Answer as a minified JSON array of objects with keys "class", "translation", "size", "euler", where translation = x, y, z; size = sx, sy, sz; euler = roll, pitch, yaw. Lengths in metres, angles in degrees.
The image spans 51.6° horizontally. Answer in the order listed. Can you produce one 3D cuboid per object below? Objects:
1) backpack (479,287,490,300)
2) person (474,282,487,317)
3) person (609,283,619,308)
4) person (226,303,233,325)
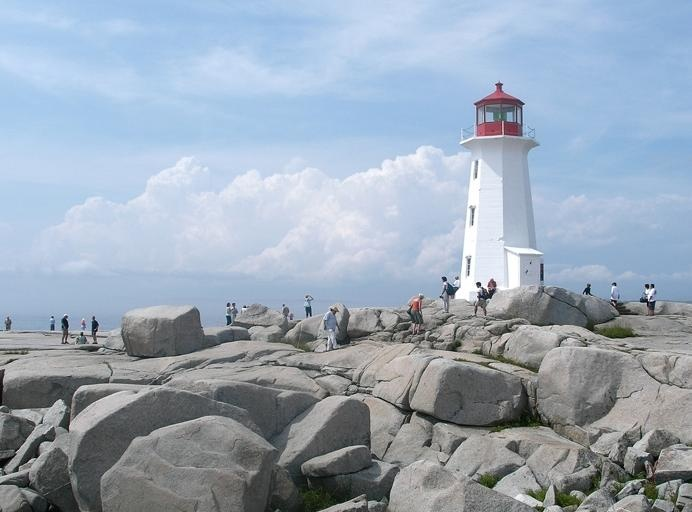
[{"class":"backpack","translation":[5.776,1.540,29.915],"size":[0.314,0.604,0.399],"euler":[-10,15,-39]},{"class":"person","translation":[5.757,1.847,30.673],"size":[0.427,0.421,1.057],"euler":[-11,28,18]},{"class":"person","translation":[12.513,1.782,33.266],"size":[0.274,1.041,1.959],"euler":[-1,-2,19]},{"class":"person","translation":[-6.633,3.247,40.506],"size":[0.273,1.122,0.923],"euler":[0,-2,-12]}]
